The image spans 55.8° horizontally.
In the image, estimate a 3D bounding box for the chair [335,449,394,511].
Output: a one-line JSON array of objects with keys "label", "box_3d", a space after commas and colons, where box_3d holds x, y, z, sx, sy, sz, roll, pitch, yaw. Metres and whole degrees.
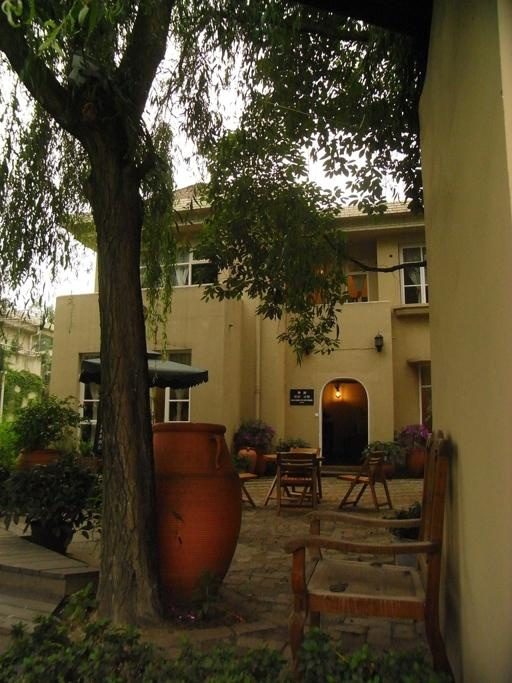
[{"label": "chair", "box_3d": [1.797, 2.264, 7.966, 0.544, 1.003, 0.718, 8, -11, -40]}]

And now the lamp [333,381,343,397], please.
[{"label": "lamp", "box_3d": [2.972, 1.791, 17.638, 0.314, 0.618, 1.064, 0, -5, 11]}]

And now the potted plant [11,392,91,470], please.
[{"label": "potted plant", "box_3d": [-4.043, 1.804, 9.660, 0.988, 1.489, 0.913, 1, -9, -7]}]

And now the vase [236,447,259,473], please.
[{"label": "vase", "box_3d": [-0.215, 2.883, 11.894, 0.425, 0.718, 0.513, 1, -20, -3]}]

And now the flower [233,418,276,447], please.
[{"label": "flower", "box_3d": [-0.084, 2.424, 12.588, 0.654, 0.801, 0.760, 4, -19, -9]}]

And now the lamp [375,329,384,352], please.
[{"label": "lamp", "box_3d": [3.311, 0.016, 12.996, 0.249, 0.560, 0.296, -1, -4, 16]}]
